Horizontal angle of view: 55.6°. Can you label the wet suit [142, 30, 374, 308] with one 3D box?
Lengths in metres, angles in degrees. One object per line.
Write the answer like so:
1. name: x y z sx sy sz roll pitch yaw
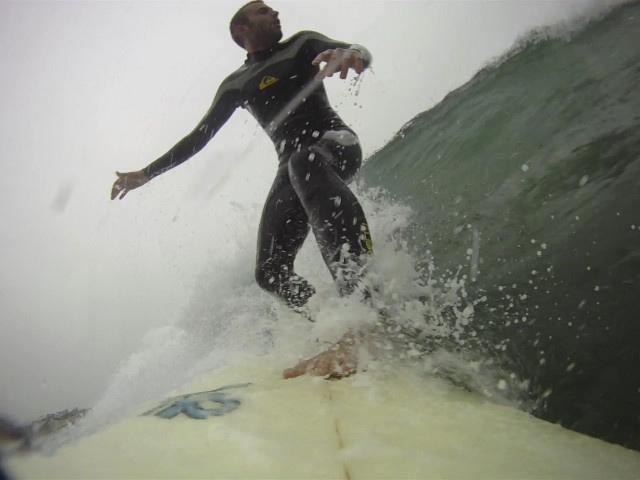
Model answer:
1. wet suit: -0.145 -0.332 2.808 0.541 1.288 0.859 -23 3 -38
